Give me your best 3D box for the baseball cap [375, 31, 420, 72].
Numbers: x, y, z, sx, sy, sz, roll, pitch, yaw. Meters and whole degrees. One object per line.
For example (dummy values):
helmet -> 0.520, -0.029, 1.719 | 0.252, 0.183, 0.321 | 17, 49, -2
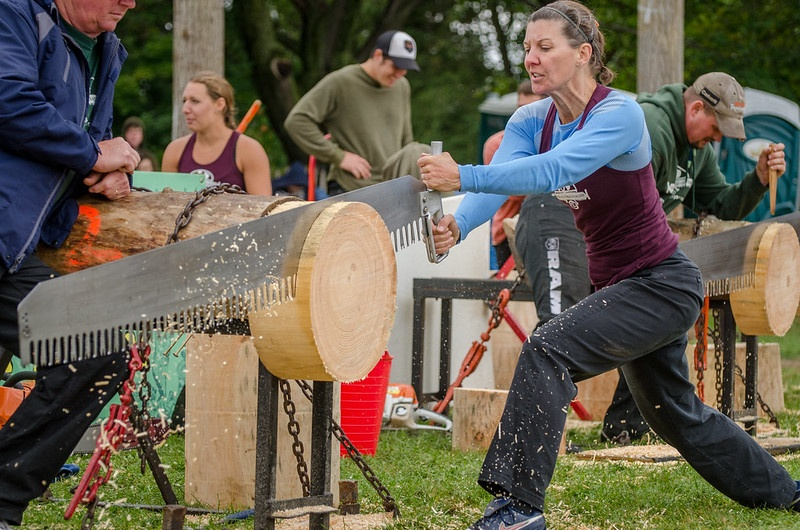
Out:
baseball cap -> -0.003, -1.954, 15.558 | 0.401, 0.217, 0.293 | 38, 28, 12

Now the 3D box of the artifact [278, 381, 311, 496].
artifact -> -0.772, 1.239, 12.491 | 0.242, 0.856, 0.656 | 1, 2, -4

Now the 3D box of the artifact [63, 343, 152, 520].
artifact -> -2.129, 1.204, 12.323 | 0.127, 1.374, 0.160 | 10, -11, 13

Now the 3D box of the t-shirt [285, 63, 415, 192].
t-shirt -> -0.366, -1.336, 15.916 | 1.397, 1.094, 0.731 | -3, 16, -32

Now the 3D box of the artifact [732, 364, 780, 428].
artifact -> 3.125, 1.144, 15.018 | 0.102, 0.844, 0.122 | -21, 27, 33

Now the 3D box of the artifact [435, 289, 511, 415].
artifact -> 0.643, 0.797, 15.278 | 0.142, 1.236, 0.161 | 31, 9, -3

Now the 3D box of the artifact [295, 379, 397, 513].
artifact -> -0.280, 1.485, 12.622 | 0.567, 0.736, 0.410 | 1, 2, -13

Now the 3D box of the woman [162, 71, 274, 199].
woman -> -1.669, -1.059, 15.267 | 1.207, 1.327, 0.697 | 2, 3, 31

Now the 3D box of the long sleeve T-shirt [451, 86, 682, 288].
long sleeve T-shirt -> 1.258, -0.532, 12.880 | 1.675, 1.653, 1.196 | -5, -4, -5
